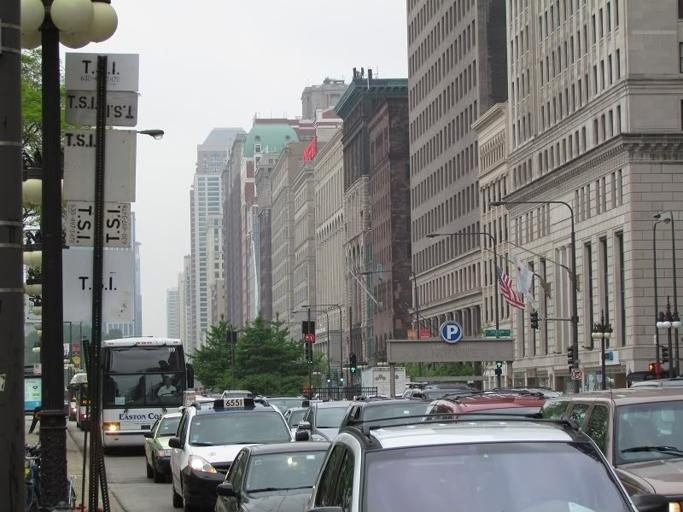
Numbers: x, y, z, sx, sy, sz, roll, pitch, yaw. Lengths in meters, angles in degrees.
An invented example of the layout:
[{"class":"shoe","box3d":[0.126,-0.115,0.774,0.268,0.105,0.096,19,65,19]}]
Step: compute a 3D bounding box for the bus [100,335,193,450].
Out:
[{"class":"bus","box3d":[-5.563,3.823,36.392,2.917,4.636,5.931,0,-8,-11]}]
